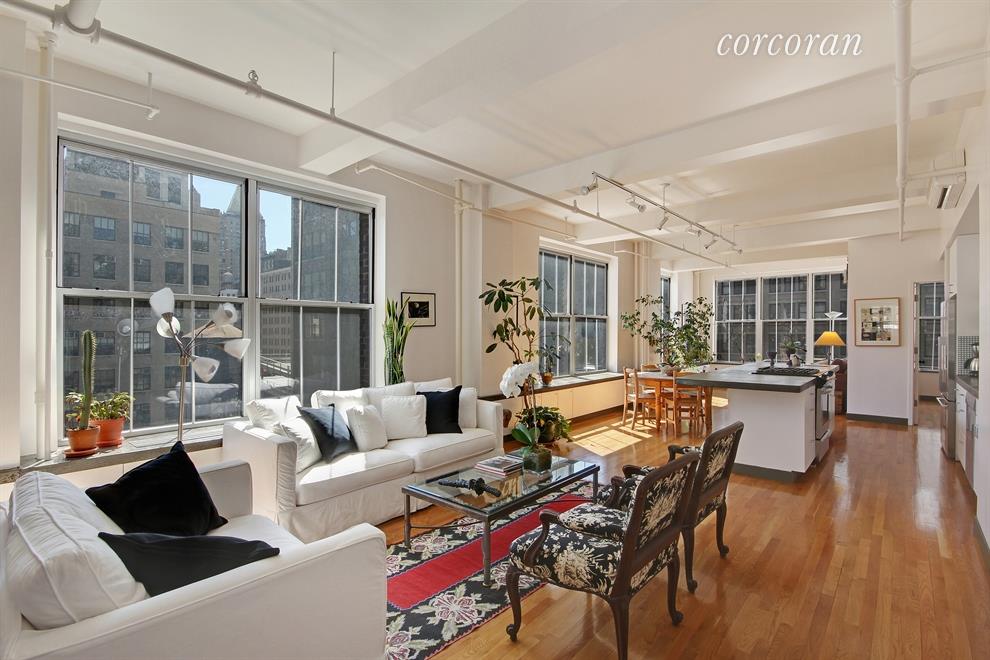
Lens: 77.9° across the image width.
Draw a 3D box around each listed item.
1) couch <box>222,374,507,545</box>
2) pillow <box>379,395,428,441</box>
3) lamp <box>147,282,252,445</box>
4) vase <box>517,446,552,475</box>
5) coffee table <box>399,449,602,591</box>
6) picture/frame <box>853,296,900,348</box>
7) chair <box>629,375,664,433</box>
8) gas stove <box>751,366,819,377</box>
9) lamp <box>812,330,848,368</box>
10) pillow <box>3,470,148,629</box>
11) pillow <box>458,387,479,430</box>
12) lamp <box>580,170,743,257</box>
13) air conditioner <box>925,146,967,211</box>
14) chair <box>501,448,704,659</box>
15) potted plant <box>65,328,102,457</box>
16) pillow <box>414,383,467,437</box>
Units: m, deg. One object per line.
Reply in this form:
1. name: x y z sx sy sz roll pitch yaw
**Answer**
1. couch: -1.151 1.153 6.143 2.488 1.070 1.134 -5 7 -43
2. pillow: -0.933 0.914 6.230 0.393 0.384 0.141 -4 -18 -8
3. lamp: -2.616 0.278 5.538 0.777 1.447 1.157 -3 0 -29
4. vase: 0.350 1.145 5.371 0.227 0.195 0.228 -5 -6 26
5. coffee table: 0.104 1.539 5.410 1.079 0.549 1.689 3 5 33
6. picture/frame: 5.787 -0.125 9.259 0.783 1.006 0.068 -2 -11 44
7. chair: 2.301 0.989 9.084 0.562 0.747 0.561 -1 7 1
8. gas stove: 3.597 0.489 7.560 0.663 0.081 1.055 -3 -1 24
9. lamp: 6.033 0.348 11.020 0.658 0.667 0.667 -1 3 35
10. pillow: -2.318 0.940 3.387 0.573 0.479 1.457 -5 4 -43
11. pillow: -0.290 0.860 6.606 0.160 0.428 0.406 3 -7 -26
12. lamp: 2.328 -1.559 8.249 0.818 0.846 4.249 -3 -1 36
13. air conditioner: 4.491 -1.540 6.092 0.241 0.272 0.832 0 -1 33
14. chair: 0.782 1.316 4.606 1.347 1.701 1.328 -1 -4 40
15. potted plant: -3.489 0.519 5.193 0.245 1.199 0.589 -3 0 -34
16. pillow: -0.596 0.882 6.529 0.557 0.507 0.217 -7 -6 25
